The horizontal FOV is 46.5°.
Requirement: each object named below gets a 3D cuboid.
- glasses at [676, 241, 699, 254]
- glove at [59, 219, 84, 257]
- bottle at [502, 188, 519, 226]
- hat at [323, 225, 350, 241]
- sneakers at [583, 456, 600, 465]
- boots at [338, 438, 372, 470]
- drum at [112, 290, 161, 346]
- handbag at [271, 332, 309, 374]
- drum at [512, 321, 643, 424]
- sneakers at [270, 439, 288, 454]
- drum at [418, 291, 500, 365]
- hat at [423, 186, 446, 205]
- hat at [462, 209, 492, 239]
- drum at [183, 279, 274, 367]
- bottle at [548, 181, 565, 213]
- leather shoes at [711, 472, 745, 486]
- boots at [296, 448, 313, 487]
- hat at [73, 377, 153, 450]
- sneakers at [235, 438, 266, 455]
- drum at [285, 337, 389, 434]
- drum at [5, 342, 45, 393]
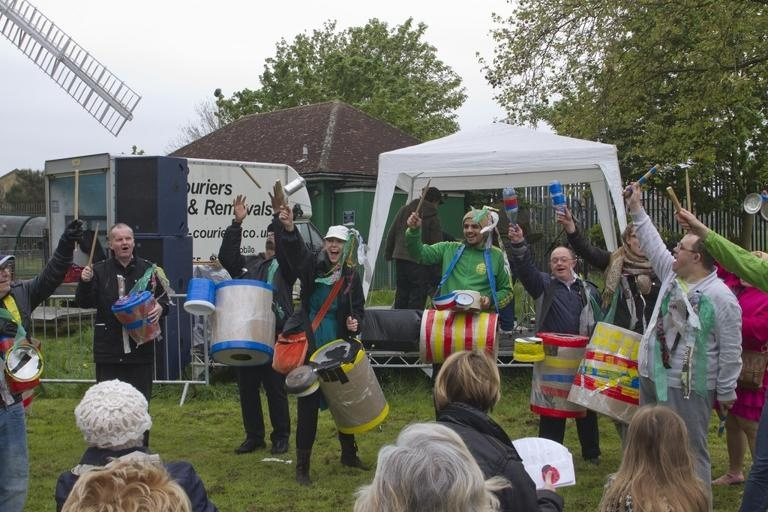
[{"bbox_3d":[3.240,-0.069,9.601,0.134,0.078,0.131,15,16,0],"label":"glasses"},{"bbox_3d":[-3.879,-0.198,11.197,0.156,0.615,0.196,23,3,3],"label":"glove"},{"bbox_3d":[1.508,-0.595,10.682,0.138,0.466,0.531,1,-2,5],"label":"bottle"},{"bbox_3d":[-0.540,-0.255,10.705,0.296,0.184,0.224,2,-2,-13],"label":"hat"},{"bbox_3d":[2.587,2.553,11.118,0.219,0.096,0.076,-4,-38,15],"label":"sneakers"},{"bbox_3d":[-0.330,2.431,10.994,0.444,0.454,0.203,5,6,22],"label":"boots"},{"bbox_3d":[-2.903,0.759,10.441,0.399,0.445,0.399,-14,-2,8],"label":"drum"},{"bbox_3d":[-1.100,1.132,10.535,0.347,0.516,0.200,-8,-24,29],"label":"handbag"},{"bbox_3d":[2.301,1.340,10.599,1.412,1.105,0.924,2,-1,20],"label":"drum"},{"bbox_3d":[-1.297,2.404,11.333,0.237,0.210,0.187,2,-2,-15],"label":"sneakers"},{"bbox_3d":[1.049,0.844,10.836,1.207,1.175,0.716,2,-15,9],"label":"drum"},{"bbox_3d":[0.817,-0.953,14.386,0.224,0.191,0.312,9,12,25],"label":"hat"},{"bbox_3d":[1.110,-0.389,11.162,0.355,0.357,0.283,4,-9,-36],"label":"hat"},{"bbox_3d":[-1.728,0.831,10.761,1.173,1.090,0.711,7,-21,-26],"label":"drum"},{"bbox_3d":[2.092,-0.680,10.762,0.178,0.409,0.669,1,-2,11],"label":"bottle"},{"bbox_3d":[4.082,2.660,10.666,0.404,0.158,0.152,0,-6,0],"label":"leather shoes"},{"bbox_3d":[-0.947,2.497,10.678,0.186,0.426,0.244,2,-2,-5],"label":"boots"},{"bbox_3d":[-2.568,1.538,8.538,0.692,0.263,0.736,-1,17,-30],"label":"hat"},{"bbox_3d":[-1.686,2.431,11.378,0.376,0.154,0.150,3,-5,-36],"label":"sneakers"},{"bbox_3d":[-0.516,1.522,10.341,1.133,1.073,0.457,2,-2,-6],"label":"drum"},{"bbox_3d":[-3.855,1.208,9.618,0.371,0.552,0.278,2,-2,-19],"label":"drum"}]
